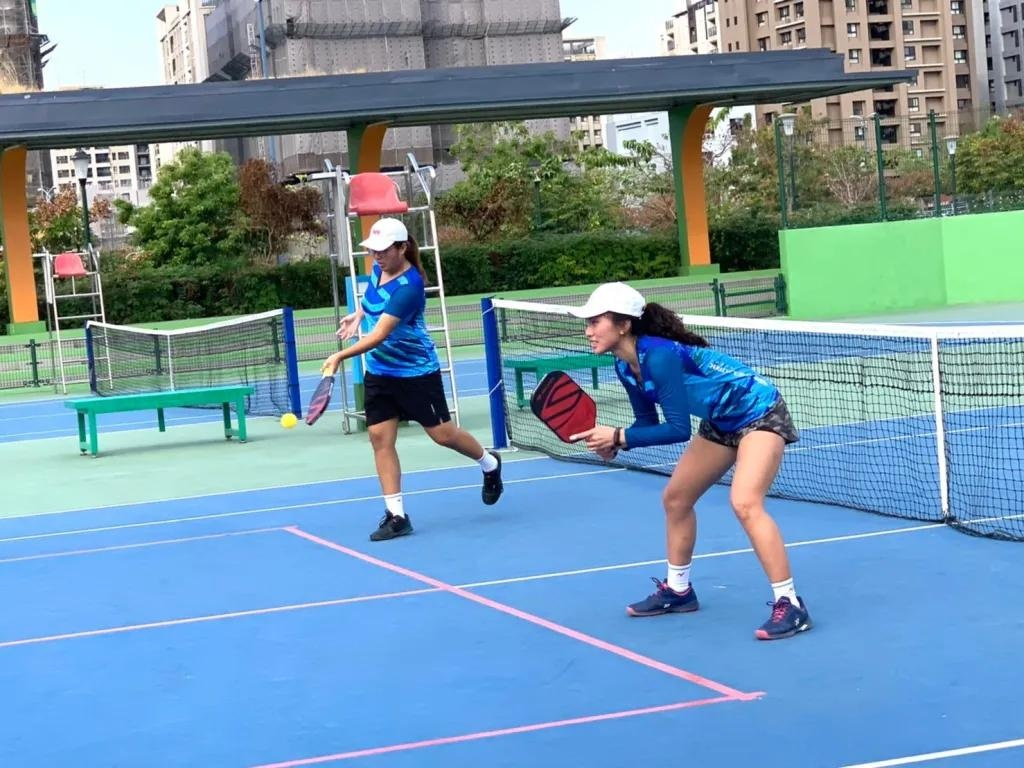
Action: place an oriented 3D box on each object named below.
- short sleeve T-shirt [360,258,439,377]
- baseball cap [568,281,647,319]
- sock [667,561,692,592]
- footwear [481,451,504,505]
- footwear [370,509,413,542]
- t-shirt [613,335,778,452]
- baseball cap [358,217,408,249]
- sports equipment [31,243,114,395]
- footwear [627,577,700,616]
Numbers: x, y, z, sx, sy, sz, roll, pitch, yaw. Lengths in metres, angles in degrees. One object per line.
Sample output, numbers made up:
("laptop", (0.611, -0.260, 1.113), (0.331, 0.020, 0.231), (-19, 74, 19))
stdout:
("short sleeve T-shirt", (-0.921, -0.521, 8.338), (0.665, 1.047, 0.877), (-1, 2, -29))
("baseball cap", (0.486, -0.396, 5.354), (0.261, 0.143, 0.198), (-3, 0, 6))
("sock", (0.912, 1.043, 5.964), (0.101, 0.170, 0.161), (0, 2, -31))
("footwear", (-0.171, 0.761, 8.581), (0.146, 0.445, 0.174), (4, 8, 26))
("footwear", (-0.890, 1.020, 7.985), (0.309, 0.187, 0.215), (-5, 6, -8))
("t-shirt", (0.885, 0.014, 5.540), (0.909, 0.562, 0.569), (-12, 0, -6))
("baseball cap", (-0.917, -1.092, 8.025), (0.221, 0.206, 0.326), (9, 12, 43))
("sports equipment", (-9.974, -1.793, 24.902), (1.135, 2.533, 4.458), (-7, 8, -25))
("footwear", (0.835, 1.167, 6.026), (0.386, 0.201, 0.169), (-1, -2, -6))
